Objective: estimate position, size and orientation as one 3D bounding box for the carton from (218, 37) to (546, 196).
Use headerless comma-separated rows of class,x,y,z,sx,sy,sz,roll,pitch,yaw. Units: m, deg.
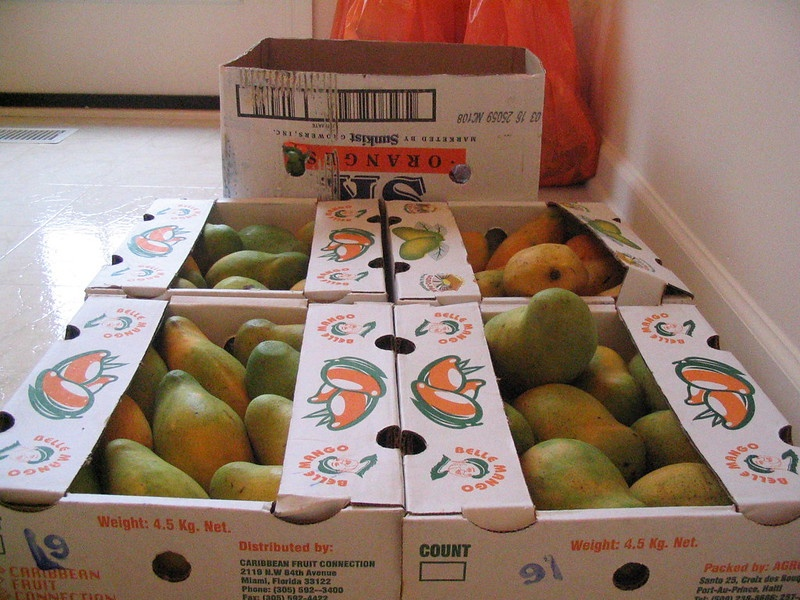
carton,-0.035,-0.397,1.359,0.636,0.259,0.375,0,33,2
